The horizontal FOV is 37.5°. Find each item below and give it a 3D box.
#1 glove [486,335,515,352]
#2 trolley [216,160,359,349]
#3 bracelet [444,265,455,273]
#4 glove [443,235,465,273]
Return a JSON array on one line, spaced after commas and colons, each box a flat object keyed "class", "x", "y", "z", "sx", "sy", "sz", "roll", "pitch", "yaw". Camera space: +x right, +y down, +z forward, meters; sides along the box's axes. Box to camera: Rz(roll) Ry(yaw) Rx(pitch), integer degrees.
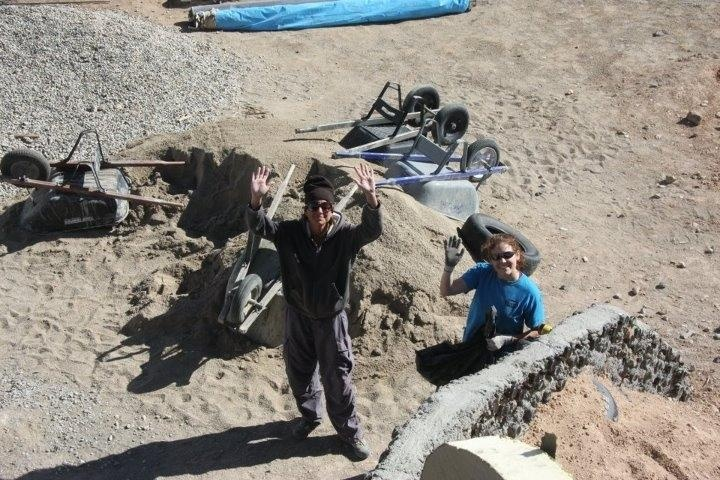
[{"class": "glove", "x": 2.122, "y": 1.526, "z": 16.178, "sx": 0.311, "sy": 0.140, "sz": 0.239, "roll": -15, "pitch": 26, "yaw": 10}, {"class": "trolley", "x": -1.445, "y": 0.823, "z": 18.423, "sx": 1.406, "sy": 1.577, "sz": 4.023, "roll": 28, "pitch": 57, "yaw": -6}, {"class": "bracelet", "x": 1.355, "y": 0.444, "z": 16.396, "sx": 0.109, "sy": 0.081, "sz": 0.112, "roll": 11, "pitch": 26, "yaw": 9}, {"class": "glove", "x": 1.427, "y": 0.202, "z": 16.464, "sx": 0.341, "sy": 0.206, "sz": 0.684, "roll": 6, "pitch": 55, "yaw": 14}]
